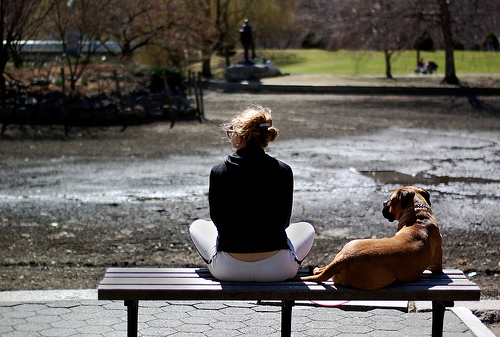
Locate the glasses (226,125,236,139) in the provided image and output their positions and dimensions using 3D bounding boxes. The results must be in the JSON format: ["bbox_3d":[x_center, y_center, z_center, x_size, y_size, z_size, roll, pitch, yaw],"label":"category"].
[{"bbox_3d":[-0.396,-0.710,22.014,0.167,0.216,0.092,1,-1,27],"label":"glasses"}]

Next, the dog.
[{"bbox_3d":[2.574,1.287,22.510,2.901,1.842,1.843,-4,13,-27],"label":"dog"}]
